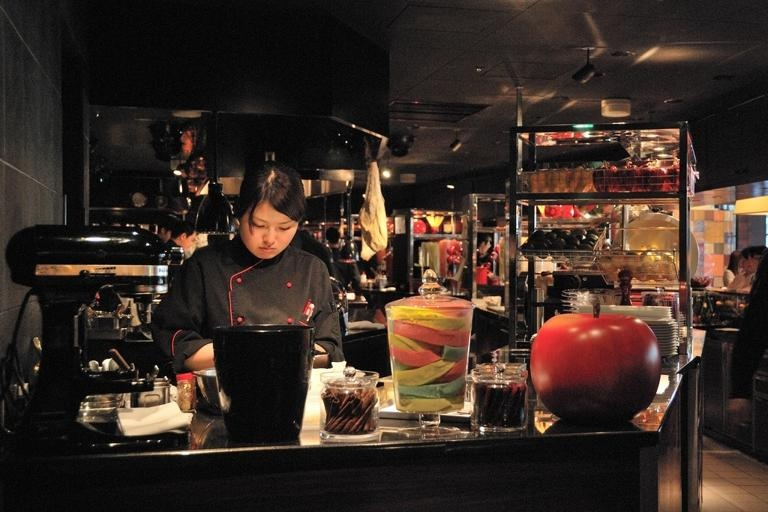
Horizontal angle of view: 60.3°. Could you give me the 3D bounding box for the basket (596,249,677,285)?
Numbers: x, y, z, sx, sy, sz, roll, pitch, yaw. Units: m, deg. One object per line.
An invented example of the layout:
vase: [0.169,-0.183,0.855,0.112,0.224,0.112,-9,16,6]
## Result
basket: [1.497,0.064,3.949,0.456,0.161,0.315,2,1,16]

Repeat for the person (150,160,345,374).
person: [-0.593,0.031,2.992,0.841,0.915,0.455,2,1,-15]

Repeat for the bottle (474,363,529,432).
bottle: [0.365,0.455,2.117,0.218,0.184,0.213,0,-6,-1]

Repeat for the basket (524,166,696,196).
basket: [1.306,-0.465,4.021,0.959,0.128,0.097,2,1,21]

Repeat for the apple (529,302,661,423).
apple: [0.773,0.401,2.376,0.496,0.352,0.488,-2,1,39]

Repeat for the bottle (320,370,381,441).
bottle: [-0.101,0.478,2.153,0.245,0.213,0.216,1,-4,-2]
